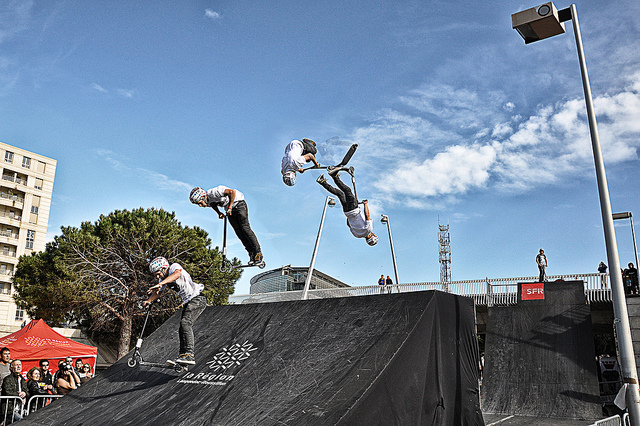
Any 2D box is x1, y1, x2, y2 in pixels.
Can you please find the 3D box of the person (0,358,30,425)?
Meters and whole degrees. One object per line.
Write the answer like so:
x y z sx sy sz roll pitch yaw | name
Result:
-8.326 4.804 11.783 0.654 1.565 1.089 9 -17 -31 | person

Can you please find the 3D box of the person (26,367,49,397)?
-8.312 4.979 12.689 0.495 0.617 1.456 13 -7 -32 | person

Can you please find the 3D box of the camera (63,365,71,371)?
-8.146 4.943 13.863 0.214 0.169 0.167 9 -17 -31 | camera

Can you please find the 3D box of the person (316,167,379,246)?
0.904 -0.176 11.787 1.185 2.375 0.504 -26 9 28 | person

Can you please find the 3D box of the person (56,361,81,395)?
-8.038 5.171 13.769 0.638 0.861 1.228 7 -16 -27 | person
